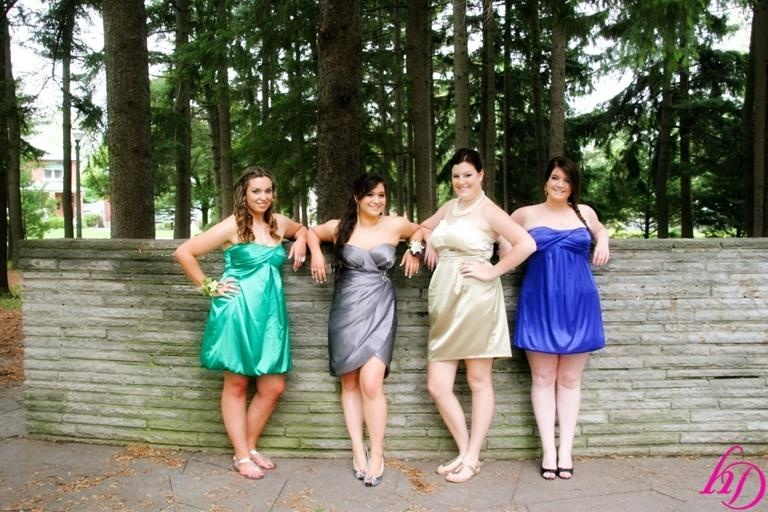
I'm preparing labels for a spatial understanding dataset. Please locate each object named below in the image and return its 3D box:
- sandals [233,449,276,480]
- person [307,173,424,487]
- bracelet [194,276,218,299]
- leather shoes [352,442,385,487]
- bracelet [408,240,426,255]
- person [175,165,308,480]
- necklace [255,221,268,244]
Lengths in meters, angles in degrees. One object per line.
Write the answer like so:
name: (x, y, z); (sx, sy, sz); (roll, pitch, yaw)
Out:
sandals: (-1.600, 2.533, 9.723); (0.413, 0.138, 0.302); (1, 5, 31)
person: (-0.246, 0.877, 9.722); (1.305, 3.720, 0.579); (-2, 3, -5)
bracelet: (-2.117, 0.380, 9.672); (0.248, 0.231, 0.220); (24, -3, -2)
leather shoes: (-0.205, 2.569, 9.788); (0.222, 0.164, 0.588); (-26, 33, 15)
bracelet: (0.365, -0.083, 9.720); (0.177, 0.168, 0.057); (-33, -27, -24)
person: (-1.655, 0.808, 9.719); (1.399, 3.748, 0.444); (-2, 3, -7)
necklace: (-1.505, -0.288, 9.689); (0.256, 0.229, 0.060); (-4, 3, -32)
